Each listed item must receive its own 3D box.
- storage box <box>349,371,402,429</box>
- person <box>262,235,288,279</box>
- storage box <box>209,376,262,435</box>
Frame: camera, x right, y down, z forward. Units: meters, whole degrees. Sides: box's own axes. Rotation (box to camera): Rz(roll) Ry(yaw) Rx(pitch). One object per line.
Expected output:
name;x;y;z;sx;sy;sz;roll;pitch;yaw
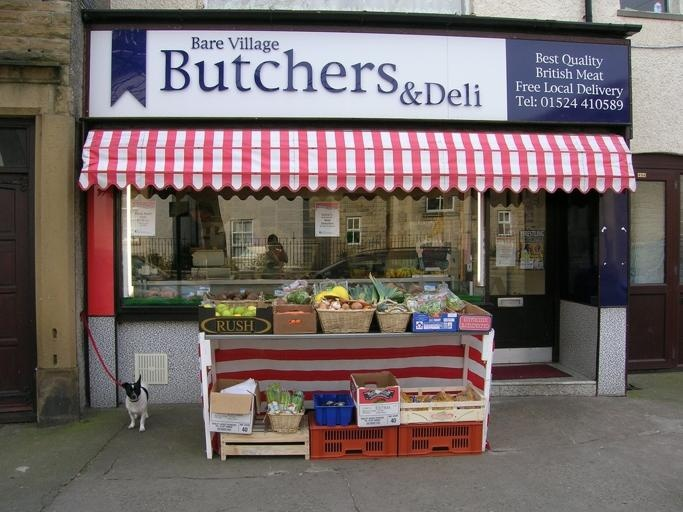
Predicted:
storage box;0.425;1.793;8.635;0.545;0.378;0.583;0;3;-3
person;-0.980;-0.011;10.487;0.330;0.778;0.304;-1;46;-3
storage box;-1.338;1.949;8.661;0.621;0.490;0.797;2;-8;5
